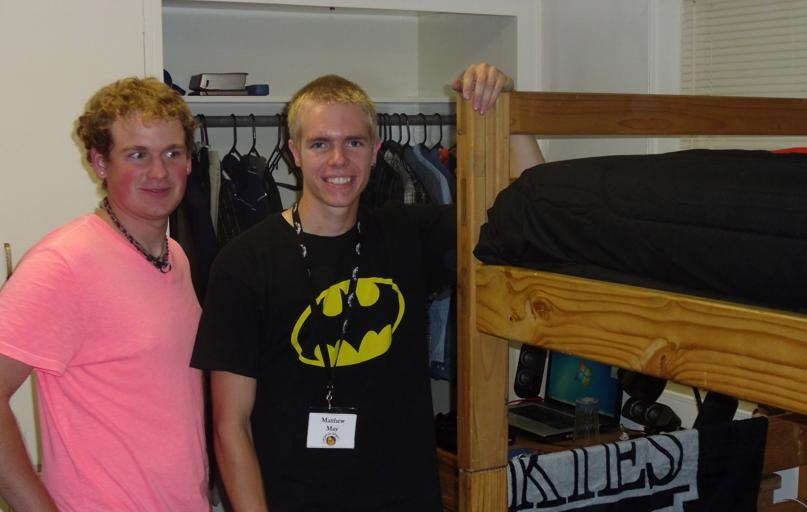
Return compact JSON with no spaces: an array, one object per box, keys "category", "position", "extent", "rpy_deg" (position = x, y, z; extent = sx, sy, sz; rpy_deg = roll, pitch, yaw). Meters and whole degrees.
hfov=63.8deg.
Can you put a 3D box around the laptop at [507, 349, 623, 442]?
[{"category":"laptop","position":[0.634,0.544,2.741],"extent":[0.452,0.354,0.496],"rpy_deg":[3,-2,-36]}]

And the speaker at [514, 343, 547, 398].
[{"category":"speaker","position":[0.569,0.516,2.919],"extent":[0.107,0.222,0.081],"rpy_deg":[6,-9,33]}]
